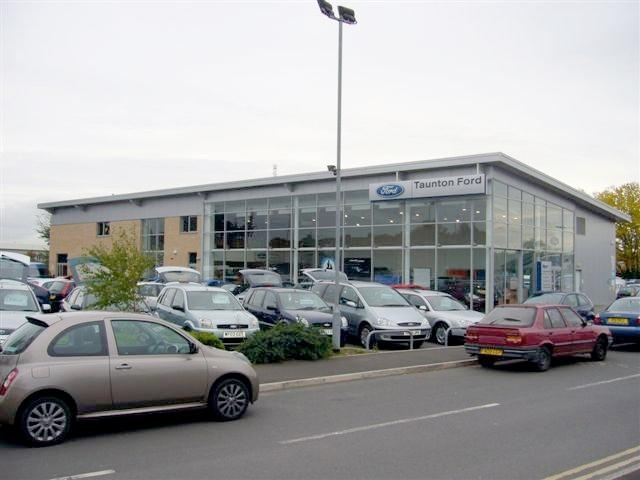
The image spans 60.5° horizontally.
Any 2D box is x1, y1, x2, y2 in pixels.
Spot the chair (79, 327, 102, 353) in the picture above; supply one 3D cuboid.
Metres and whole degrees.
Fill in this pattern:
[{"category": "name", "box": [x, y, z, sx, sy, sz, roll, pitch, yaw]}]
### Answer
[{"category": "chair", "box": [-3.593, 1.578, 8.659, 0.336, 0.456, 0.209, 2, -2, -24]}]
